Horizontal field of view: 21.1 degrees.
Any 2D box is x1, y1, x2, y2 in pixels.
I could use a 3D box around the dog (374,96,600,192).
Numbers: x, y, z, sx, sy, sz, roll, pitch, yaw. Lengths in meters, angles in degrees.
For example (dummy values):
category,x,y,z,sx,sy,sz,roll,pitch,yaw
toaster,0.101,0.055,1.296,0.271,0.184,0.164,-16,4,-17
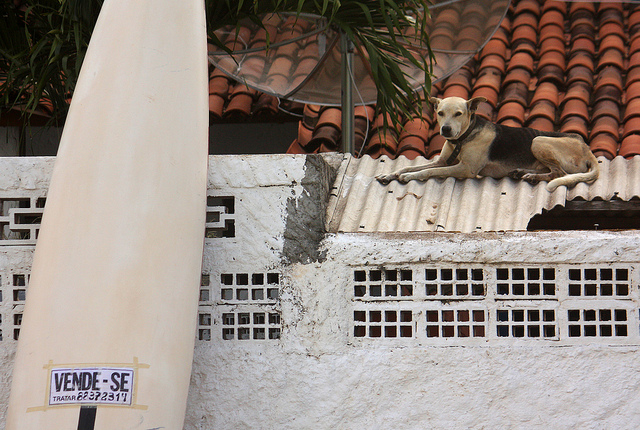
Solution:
category,x,y,z,sx,sy,sz,roll,pitch,yaw
dog,1.275,-0.543,13.115,1.595,0.705,0.738,2,-4,10
